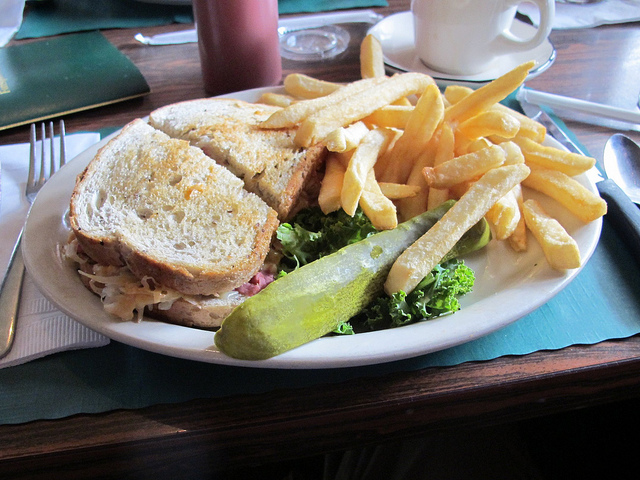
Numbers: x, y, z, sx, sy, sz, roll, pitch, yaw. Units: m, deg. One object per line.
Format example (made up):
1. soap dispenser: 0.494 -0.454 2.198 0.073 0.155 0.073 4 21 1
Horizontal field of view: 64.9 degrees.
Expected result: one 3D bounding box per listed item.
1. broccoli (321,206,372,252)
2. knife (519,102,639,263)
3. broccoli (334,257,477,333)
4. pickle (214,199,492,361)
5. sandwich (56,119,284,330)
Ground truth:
1. broccoli: 0.078 -0.035 1.395 0.124 0.047 0.115 26 75 28
2. knife: 0.813 -0.226 1.597 0.105 0.034 0.692 -15 52 -10
3. broccoli: 0.251 0.148 1.240 0.336 0.094 0.125 -22 58 -21
4. pickle: 0.063 0.095 1.201 0.648 0.112 0.143 -27 60 -24
5. sandwich: -0.429 -0.004 1.378 0.576 0.175 0.421 28 58 15
